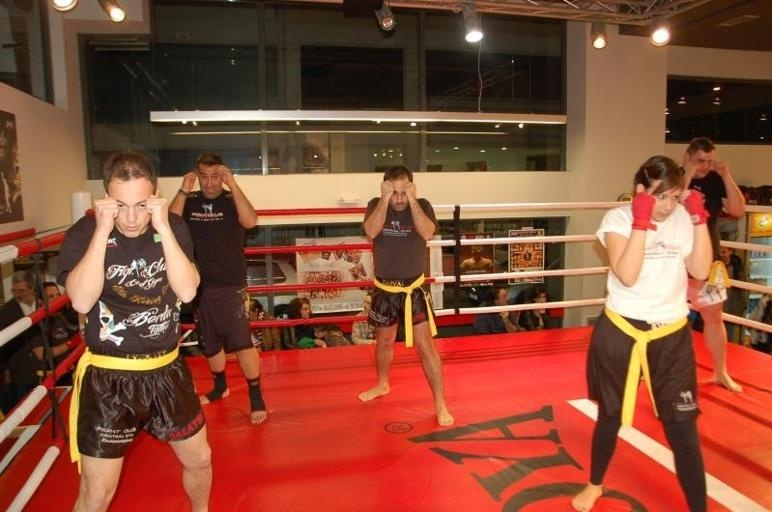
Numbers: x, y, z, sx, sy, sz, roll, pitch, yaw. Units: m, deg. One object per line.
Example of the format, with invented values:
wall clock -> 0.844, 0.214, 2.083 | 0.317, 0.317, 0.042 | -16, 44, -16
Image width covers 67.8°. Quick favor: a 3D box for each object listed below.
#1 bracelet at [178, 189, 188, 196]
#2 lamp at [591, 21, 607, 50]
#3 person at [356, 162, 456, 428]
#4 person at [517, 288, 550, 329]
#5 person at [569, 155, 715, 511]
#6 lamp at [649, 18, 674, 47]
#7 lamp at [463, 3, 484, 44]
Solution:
bracelet -> -1.561, -0.483, 4.385 | 0.052, 0.040, 0.052 | 0, 1, -26
lamp -> 2.534, -2.644, 6.865 | 0.164, 0.297, 0.245 | 1, 12, 20
person -> 0.140, 0.251, 4.350 | 0.732, 1.838, 0.645 | 1, 12, 20
person -> 2.083, 0.899, 8.020 | 0.304, 0.266, 0.983 | 20, 29, 5
person -> 1.616, 0.482, 3.558 | 0.749, 2.153, 0.854 | 2, 13, 26
lamp -> 3.149, -2.572, 6.613 | 0.192, 0.239, 0.246 | 4, 14, 32
lamp -> 0.966, -2.637, 6.481 | 0.207, 0.394, 0.362 | -2, 12, 8
